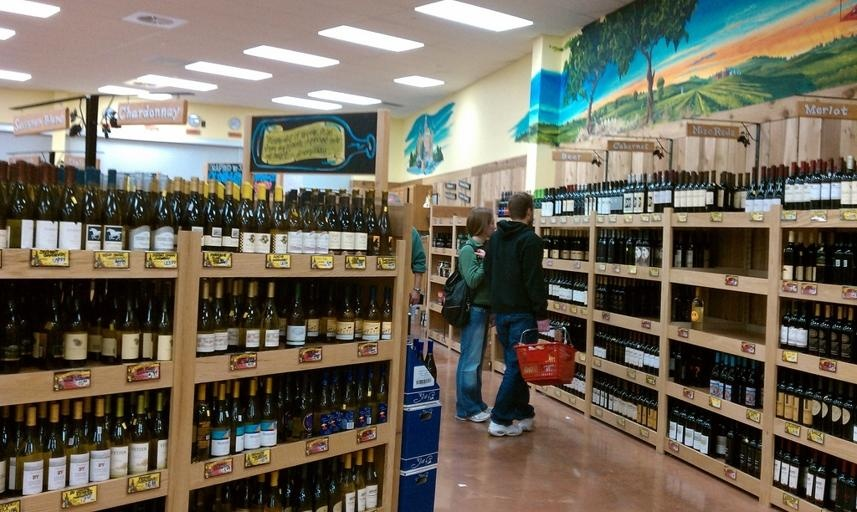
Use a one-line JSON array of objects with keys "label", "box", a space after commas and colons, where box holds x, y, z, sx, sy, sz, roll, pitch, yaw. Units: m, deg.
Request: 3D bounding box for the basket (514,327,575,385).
[{"label": "basket", "box": [1.107, 0.931, 6.060, 0.509, 0.463, 0.398, -10, -21, 33]}]
